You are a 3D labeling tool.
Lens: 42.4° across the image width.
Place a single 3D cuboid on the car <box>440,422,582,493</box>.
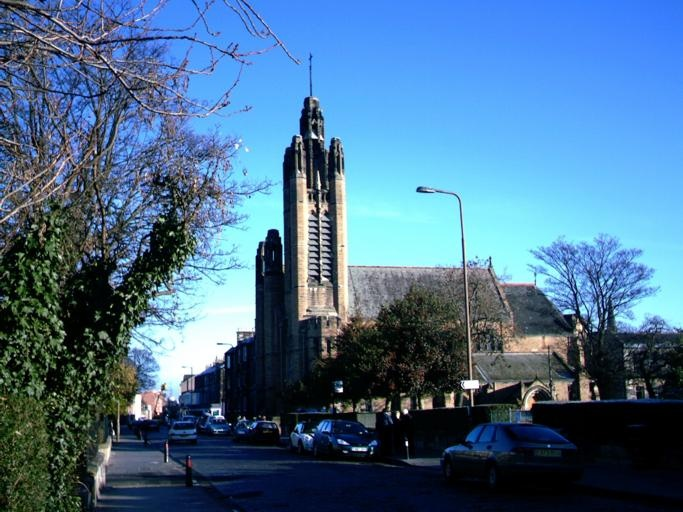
[{"bbox_3d":[4.387,5.435,23.912,1.548,1.178,3.322,4,-11,-20],"label":"car"}]
